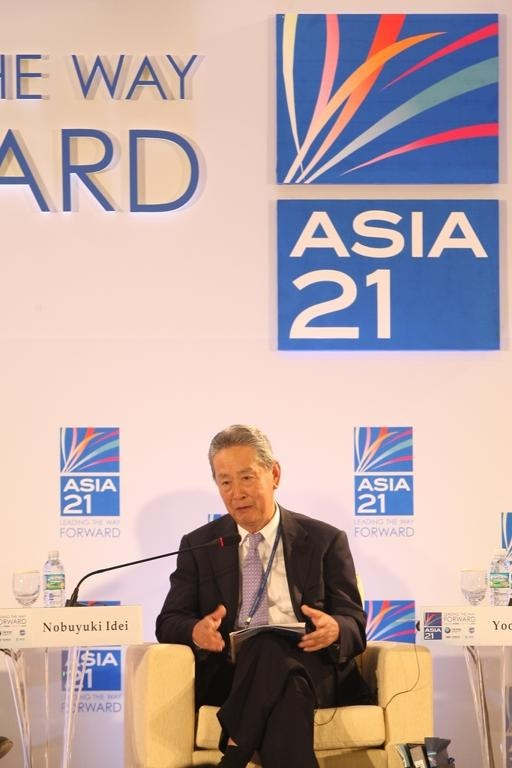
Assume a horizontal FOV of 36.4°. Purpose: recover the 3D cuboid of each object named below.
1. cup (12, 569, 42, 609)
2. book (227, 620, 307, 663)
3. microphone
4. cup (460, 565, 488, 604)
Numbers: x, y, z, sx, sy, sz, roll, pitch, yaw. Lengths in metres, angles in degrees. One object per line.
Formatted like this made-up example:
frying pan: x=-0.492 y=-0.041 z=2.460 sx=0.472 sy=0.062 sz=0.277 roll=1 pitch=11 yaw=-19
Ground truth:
cup: x=-0.745 y=0.671 z=2.533 sx=0.081 sy=0.109 sz=0.215 roll=2 pitch=-11 yaw=-17
book: x=0.026 y=0.684 z=2.139 sx=0.138 sy=0.046 sz=0.139 roll=1 pitch=-32 yaw=-18
microphone: x=-0.372 y=0.683 z=2.813 sx=0.711 sy=0.063 sz=0.159 roll=-20 pitch=20 yaw=-3
cup: x=0.758 y=0.715 z=2.723 sx=0.076 sy=0.119 sz=0.114 roll=-4 pitch=-10 yaw=19
